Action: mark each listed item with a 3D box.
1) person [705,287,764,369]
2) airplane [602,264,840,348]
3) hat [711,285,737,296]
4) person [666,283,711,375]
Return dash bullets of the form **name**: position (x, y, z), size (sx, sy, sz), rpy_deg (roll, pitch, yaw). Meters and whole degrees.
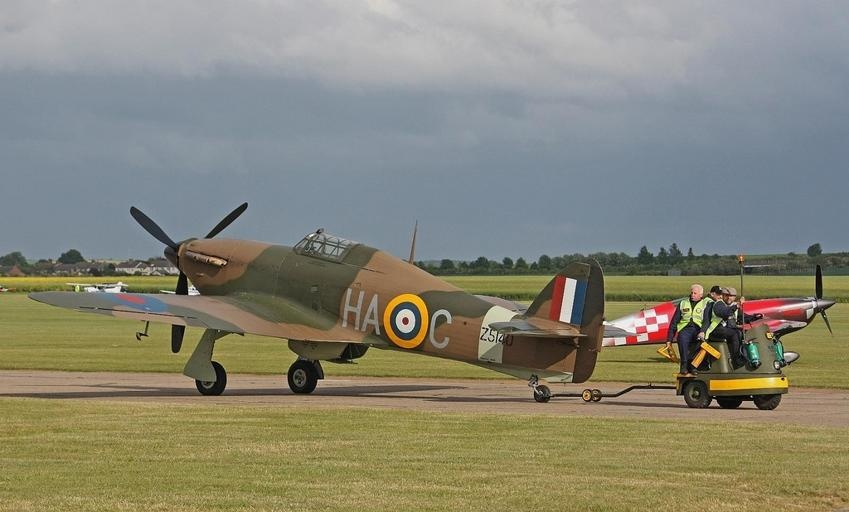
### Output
- **person**: position (8.121, 1.935, 32.301), size (1.291, 2.156, 0.728), rpy_deg (4, -5, 10)
- **airplane**: position (11.478, 2.472, 47.099), size (5.445, 1.631, 5.680), rpy_deg (-9, 6, -5)
- **hat**: position (8.021, 0.951, 32.459), size (0.746, 0.218, 0.502), rpy_deg (3, -3, -29)
- **person**: position (7.083, 2.021, 32.601), size (1.054, 2.487, 1.086), rpy_deg (4, -5, 8)
